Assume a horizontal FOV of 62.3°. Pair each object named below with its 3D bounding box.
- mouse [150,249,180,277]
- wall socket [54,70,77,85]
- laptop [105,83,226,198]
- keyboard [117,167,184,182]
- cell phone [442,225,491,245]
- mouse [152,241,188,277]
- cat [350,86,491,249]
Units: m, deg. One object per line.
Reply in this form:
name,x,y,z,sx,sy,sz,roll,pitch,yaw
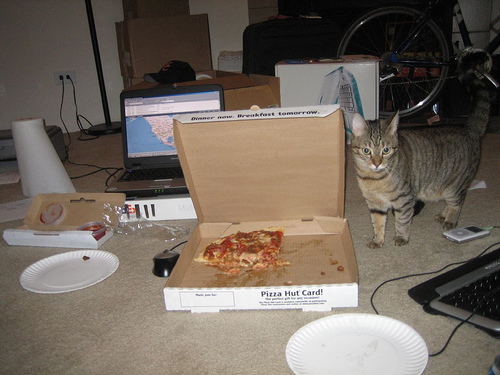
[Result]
mouse,-0.296,0.261,1.442,0.069,0.054,0.099,6,3,16
wall socket,-1.785,-1.053,3.961,0.140,0.100,0.019,-7,16,-11
laptop,-0.401,-0.231,1.968,0.563,0.396,0.519,-3,28,-1
keyboard,-0.484,-0.065,2.041,0.316,0.012,0.128,-3,29,-1
cell phone,0.835,0.177,1.602,0.164,0.026,0.083,-12,30,-17
mouse,-0.295,0.257,1.491,0.090,0.081,0.093,0,20,-3
cat,0.732,-0.094,1.718,0.725,0.506,0.359,-16,31,-23
